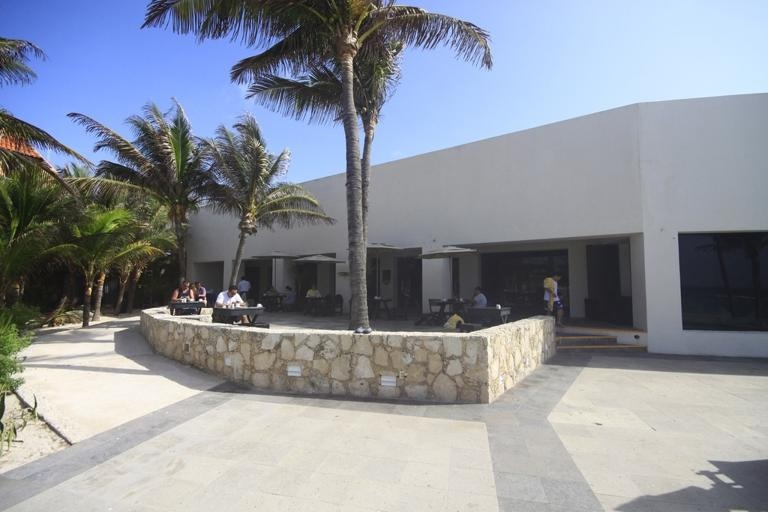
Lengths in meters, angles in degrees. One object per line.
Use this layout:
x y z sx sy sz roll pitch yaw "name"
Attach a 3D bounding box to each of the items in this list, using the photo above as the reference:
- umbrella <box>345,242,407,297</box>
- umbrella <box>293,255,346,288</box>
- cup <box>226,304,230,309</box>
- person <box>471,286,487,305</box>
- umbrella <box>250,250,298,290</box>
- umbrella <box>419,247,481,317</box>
-0.540 0.870 22.020 2.509 2.809 2.436 -1 6 -33 "umbrella"
-3.241 1.113 24.581 2.071 1.448 2.015 0 3 -9 "umbrella"
-4.781 1.572 14.430 0.074 0.103 0.144 1 -3 -7 "cup"
3.700 1.576 18.342 0.429 0.811 0.621 0 0 43 "person"
-5.621 0.936 24.641 2.074 1.902 1.992 1 2 3 "umbrella"
2.227 0.937 19.274 2.504 2.710 2.638 1 3 28 "umbrella"
